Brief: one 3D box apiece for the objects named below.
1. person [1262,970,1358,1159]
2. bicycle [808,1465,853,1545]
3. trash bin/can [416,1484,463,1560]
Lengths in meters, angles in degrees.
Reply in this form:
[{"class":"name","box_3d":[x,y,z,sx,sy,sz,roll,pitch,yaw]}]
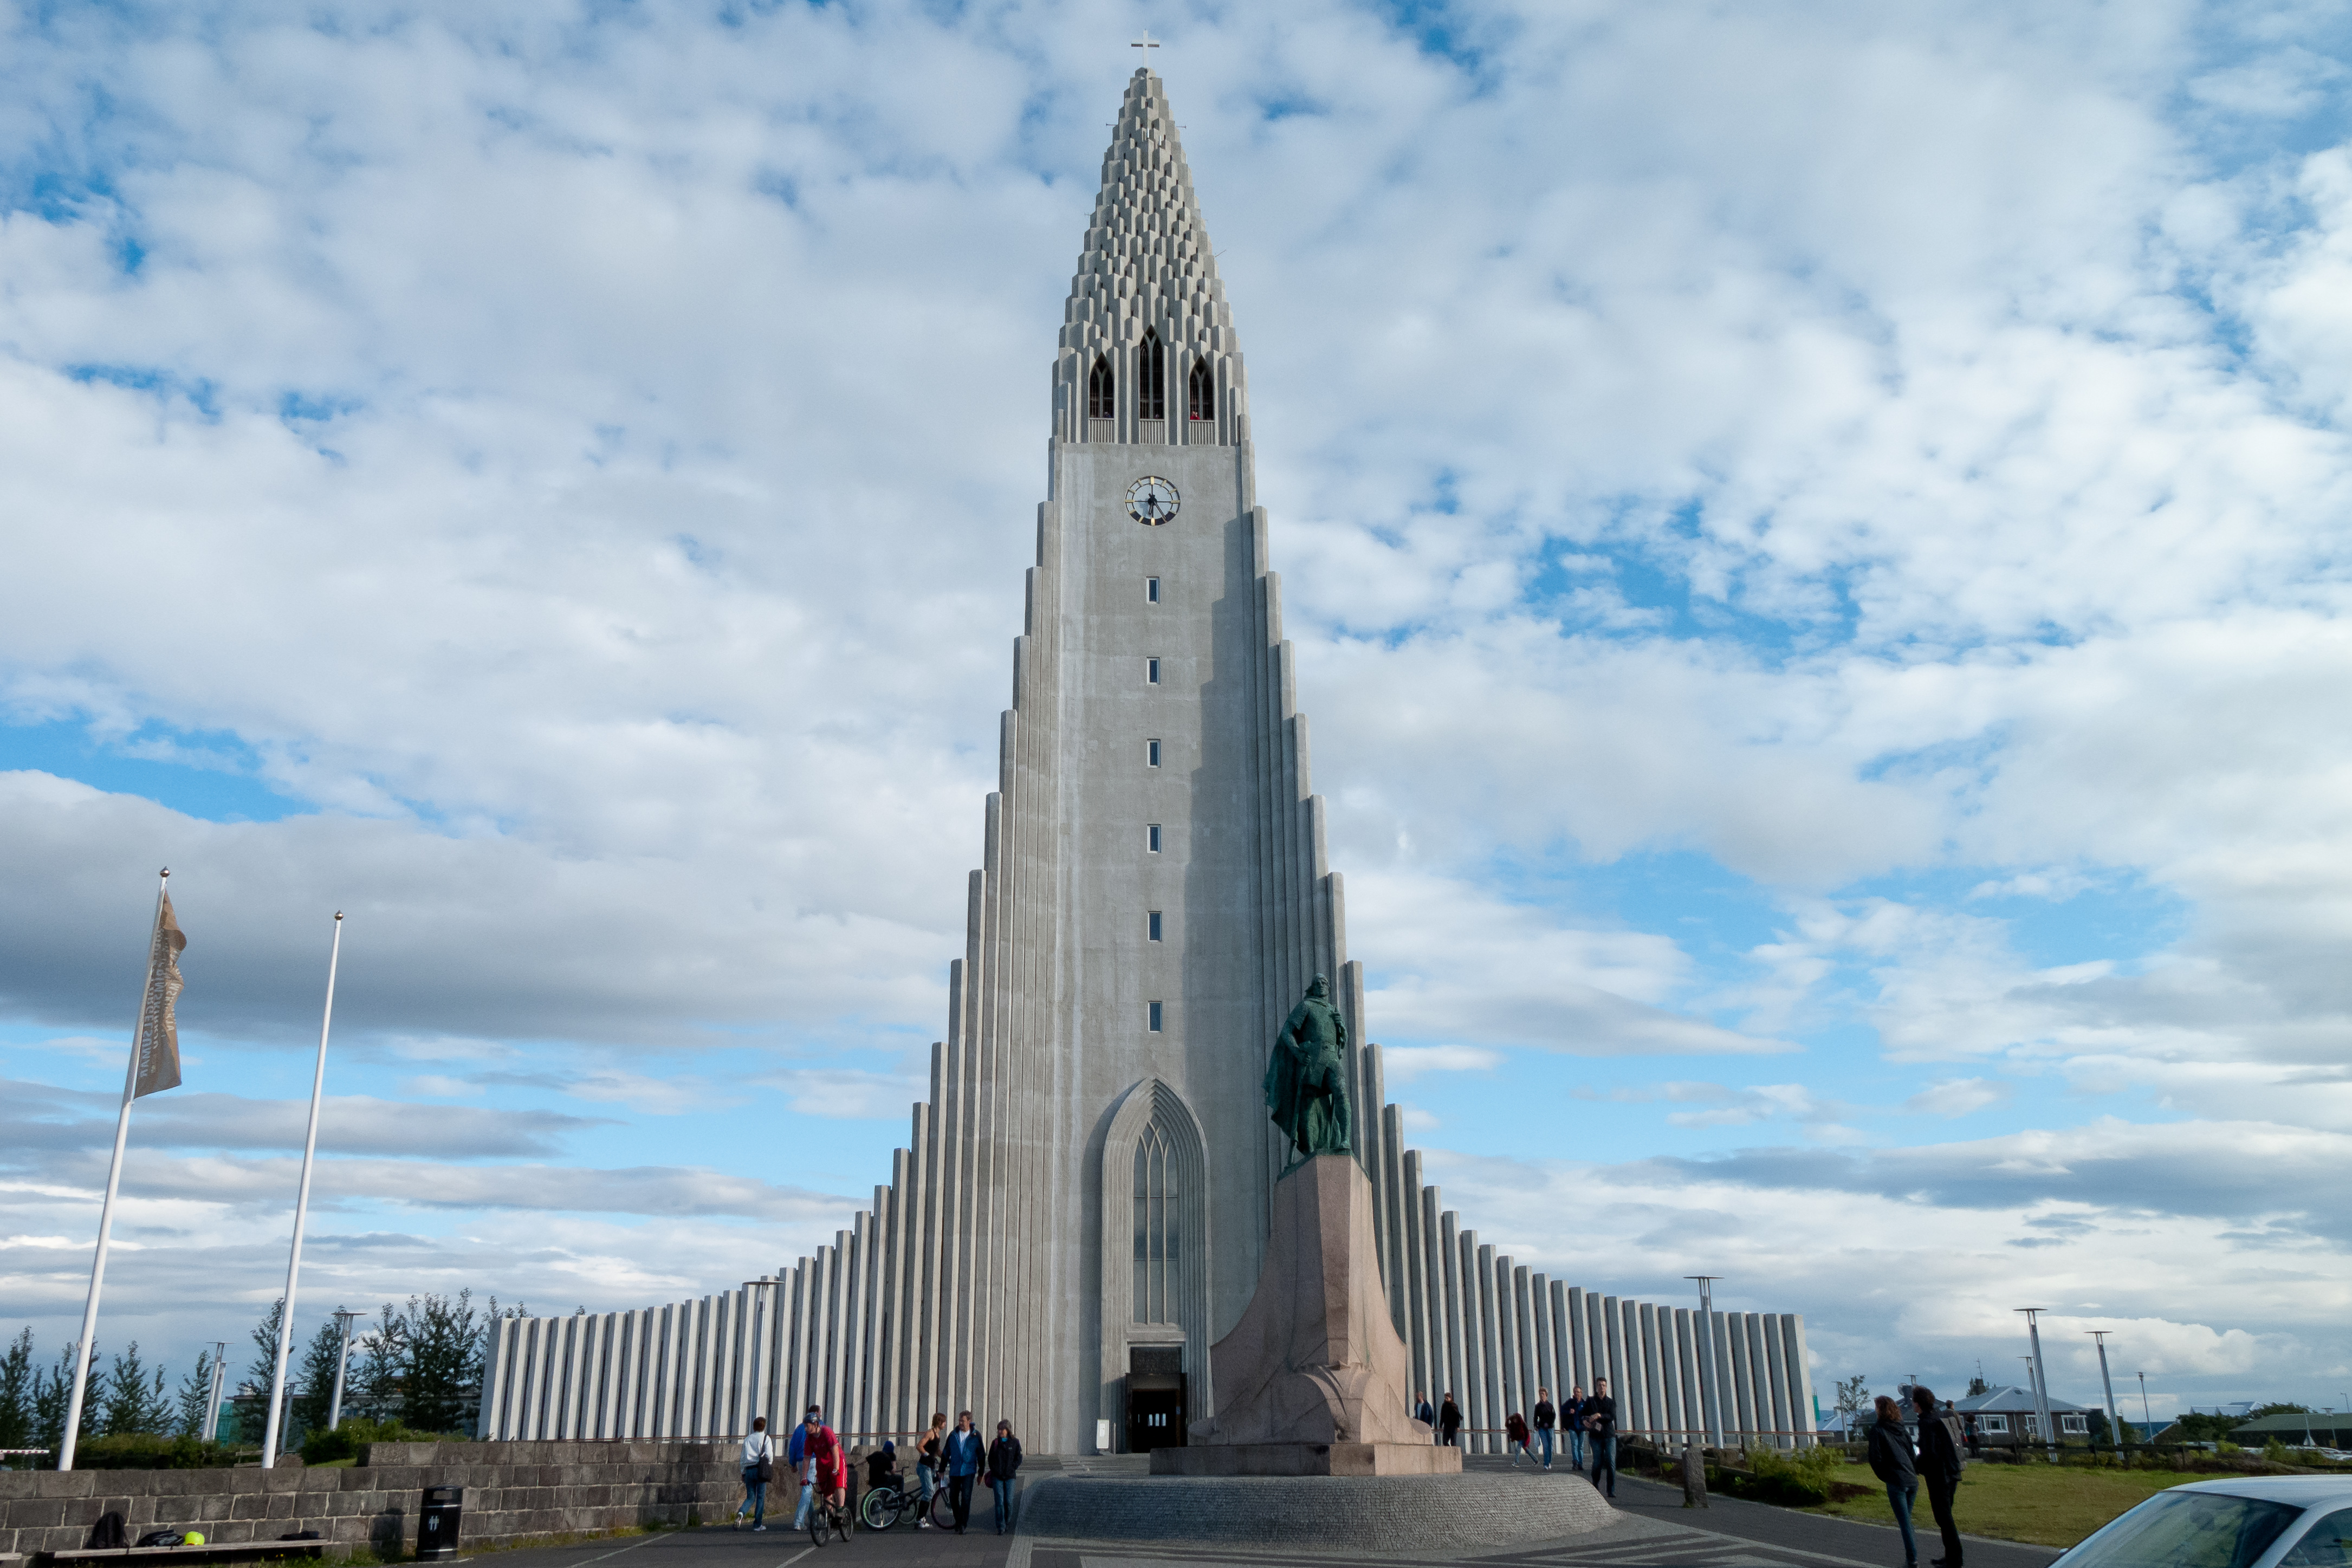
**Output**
[{"class":"person","box_3d":[2.378,4.957,28.030,1.278,3.418,1.472,-1,-25,2]},{"class":"bicycle","box_3d":[-5.245,10.971,23.976,0.626,0.677,1.190,-1,-6,4]},{"class":"trash bin/can","box_3d":[-10.590,10.646,22.870,0.526,0.962,0.396,8,-26,-18]}]
